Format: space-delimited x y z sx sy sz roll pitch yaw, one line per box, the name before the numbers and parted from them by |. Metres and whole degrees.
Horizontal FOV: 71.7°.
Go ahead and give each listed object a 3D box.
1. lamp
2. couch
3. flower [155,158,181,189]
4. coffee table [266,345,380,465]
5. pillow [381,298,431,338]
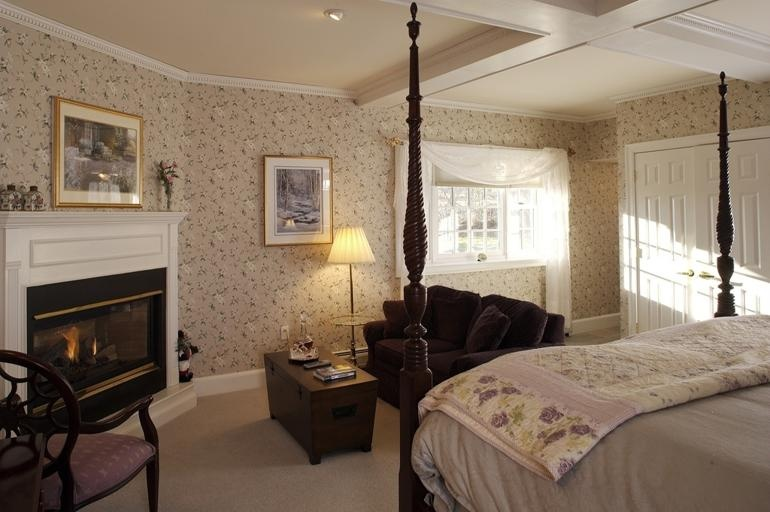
lamp | -0.380 0.213 5.848 0.482 1.038 0.678 -2 13 -7
couch | 0.645 1.007 5.237 1.055 1.300 2.233 6 0 -25
flower | -2.132 -0.796 5.206 0.248 0.278 0.273 -14 14 -39
coffee table | -0.651 1.304 4.883 0.652 0.562 1.192 -1 4 -34
pillow | 0.187 0.568 4.740 0.474 0.450 0.161 -14 -31 25
